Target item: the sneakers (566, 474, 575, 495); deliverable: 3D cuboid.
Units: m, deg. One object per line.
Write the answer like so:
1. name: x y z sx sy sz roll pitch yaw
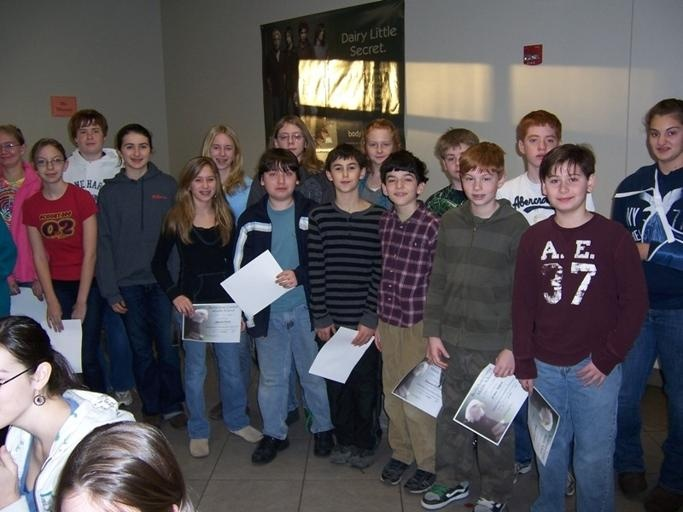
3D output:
1. sneakers: 1.243 1.249 3.127 0.038 0.113 0.048 1 1 23

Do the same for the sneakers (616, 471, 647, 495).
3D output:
1. sneakers: 1.564 1.225 3.091 0.084 0.065 0.153 -13 16 0

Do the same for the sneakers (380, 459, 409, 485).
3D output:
1. sneakers: 0.295 1.224 3.243 0.076 0.080 0.202 -1 -22 26

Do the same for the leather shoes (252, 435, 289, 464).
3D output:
1. leather shoes: -0.445 1.150 3.523 0.095 0.124 0.264 14 19 34

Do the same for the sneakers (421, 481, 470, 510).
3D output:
1. sneakers: 0.550 1.279 3.122 0.279 0.119 0.102 -4 8 -17

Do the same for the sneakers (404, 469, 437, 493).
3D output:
1. sneakers: 0.432 1.228 3.167 0.186 0.084 0.083 -8 15 -39

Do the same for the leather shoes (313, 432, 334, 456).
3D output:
1. leather shoes: -0.113 1.147 3.490 0.089 0.162 0.171 0 -10 4

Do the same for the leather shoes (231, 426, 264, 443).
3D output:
1. leather shoes: -0.596 1.109 3.650 0.182 0.072 0.101 7 19 28
